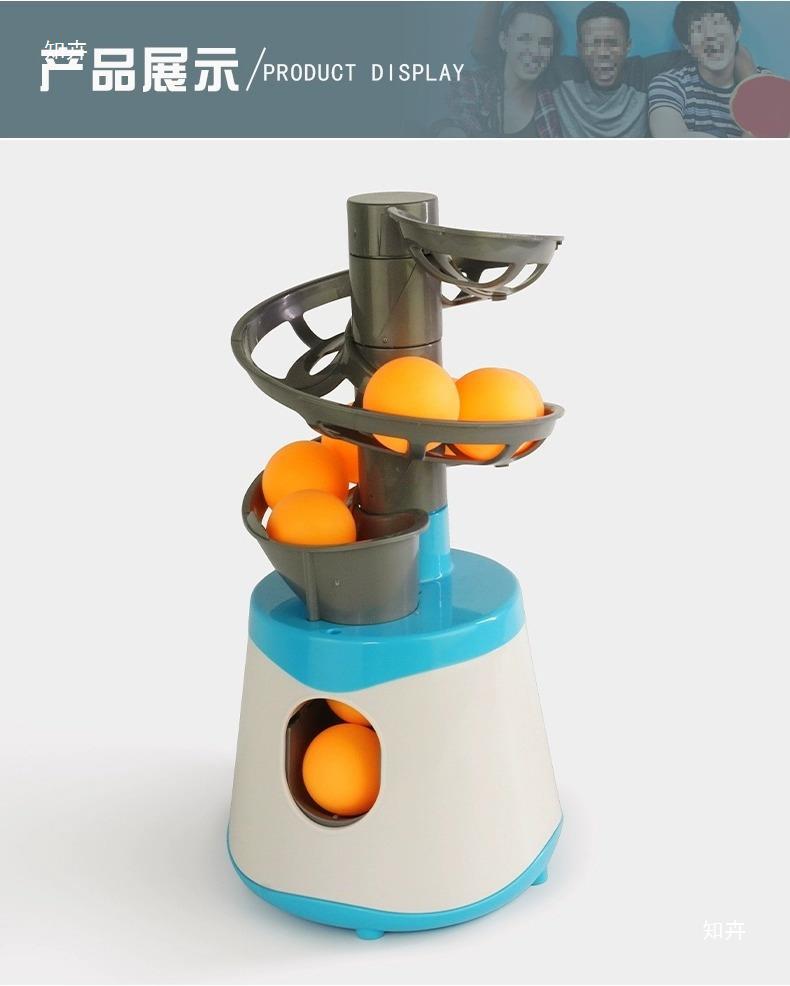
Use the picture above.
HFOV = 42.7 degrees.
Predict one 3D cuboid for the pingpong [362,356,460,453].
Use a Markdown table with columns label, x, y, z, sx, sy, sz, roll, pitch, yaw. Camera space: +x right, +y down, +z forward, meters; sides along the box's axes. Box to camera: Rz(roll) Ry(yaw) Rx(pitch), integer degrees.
| label | x | y | z | sx | sy | sz | roll | pitch | yaw |
| --- | --- | --- | --- | --- | --- | --- | --- | --- | --- |
| pingpong | 0.025 | -0.127 | 1.551 | 0.161 | 0.163 | 0.151 | 1 | 0 | 1 |

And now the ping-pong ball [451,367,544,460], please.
| label | x | y | z | sx | sy | sz | roll | pitch | yaw |
| --- | --- | --- | --- | --- | --- | --- | --- | --- | --- |
| ping-pong ball | 0.145 | -0.114 | 1.635 | 0.179 | 0.181 | 0.166 | 0 | 1 | 0 |

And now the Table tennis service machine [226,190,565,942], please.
| label | x | y | z | sx | sy | sz | roll | pitch | yaw |
| --- | --- | --- | --- | --- | --- | --- | --- | --- | --- |
| Table tennis service machine | 0.008 | 0.139 | 1.735 | 0.516 | 1.258 | 0.529 | -13 | 23 | -33 |

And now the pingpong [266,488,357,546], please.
| label | x | y | z | sx | sy | sz | roll | pitch | yaw |
| --- | --- | --- | --- | --- | --- | --- | --- | --- | --- |
| pingpong | -0.134 | 0.048 | 1.610 | 0.138 | 0.074 | 0.112 | -3 | 17 | -8 |

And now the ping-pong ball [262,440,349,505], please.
| label | x | y | z | sx | sy | sz | roll | pitch | yaw |
| --- | --- | --- | --- | --- | --- | --- | --- | --- | --- |
| ping-pong ball | -0.156 | -0.042 | 1.782 | 0.127 | 0.122 | 0.114 | -8 | 28 | -17 |
